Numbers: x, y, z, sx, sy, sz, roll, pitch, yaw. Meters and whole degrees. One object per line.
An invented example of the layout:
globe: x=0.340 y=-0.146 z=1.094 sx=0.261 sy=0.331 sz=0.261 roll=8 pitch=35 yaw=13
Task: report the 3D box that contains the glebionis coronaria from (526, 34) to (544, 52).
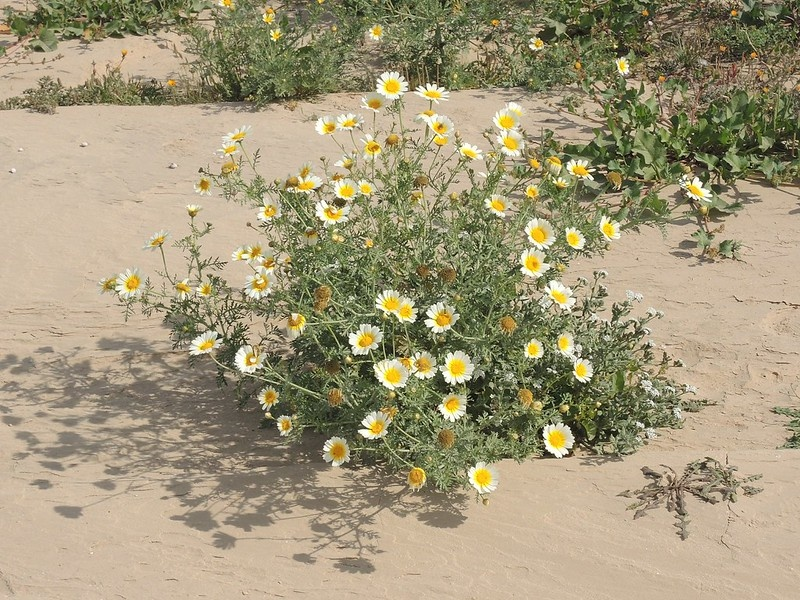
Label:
glebionis coronaria: x=1.710 y=-3.117 z=11.902 sx=0.256 sy=0.102 sz=0.212 roll=2 pitch=71 yaw=-17
